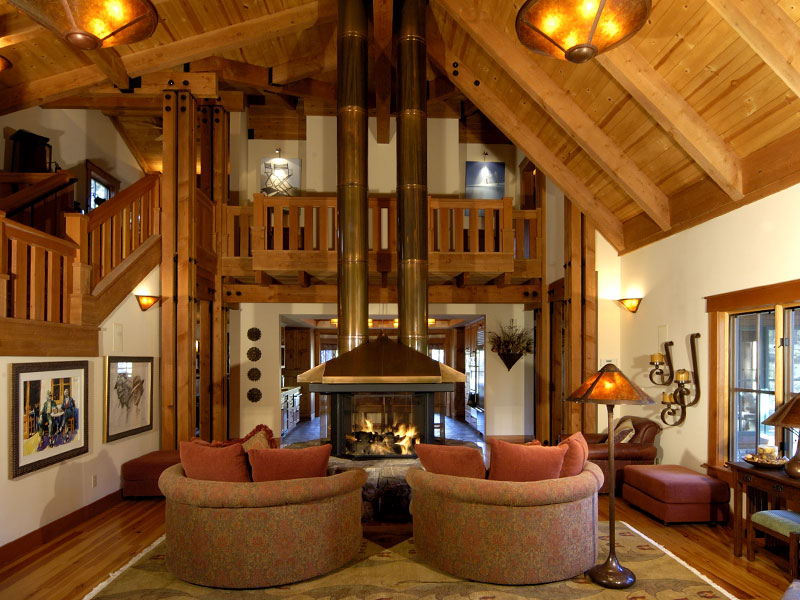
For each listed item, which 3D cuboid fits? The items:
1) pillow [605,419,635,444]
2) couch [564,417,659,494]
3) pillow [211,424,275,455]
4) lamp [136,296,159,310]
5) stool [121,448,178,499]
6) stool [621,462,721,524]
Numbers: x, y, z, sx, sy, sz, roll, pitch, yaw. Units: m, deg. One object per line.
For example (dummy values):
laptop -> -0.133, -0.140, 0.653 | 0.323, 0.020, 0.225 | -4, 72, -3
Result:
pillow -> 3.034, 1.757, 8.891 | 0.077, 0.260, 0.265 | 17, -15, -3
couch -> 2.949, 1.881, 8.712 | 0.960, 0.968, 1.091 | -1, -3, 3
pillow -> -1.444, 1.384, 6.579 | 0.383, 0.189, 0.398 | -9, -10, -6
lamp -> -3.308, 0.022, 8.623 | 0.168, 0.222, 0.472 | 0, 5, 0
stool -> -3.145, 2.128, 8.170 | 0.542, 0.397, 0.831 | 1, 2, -5
stool -> 3.117, 2.166, 7.382 | 0.504, 0.362, 0.778 | 1, -1, -2
